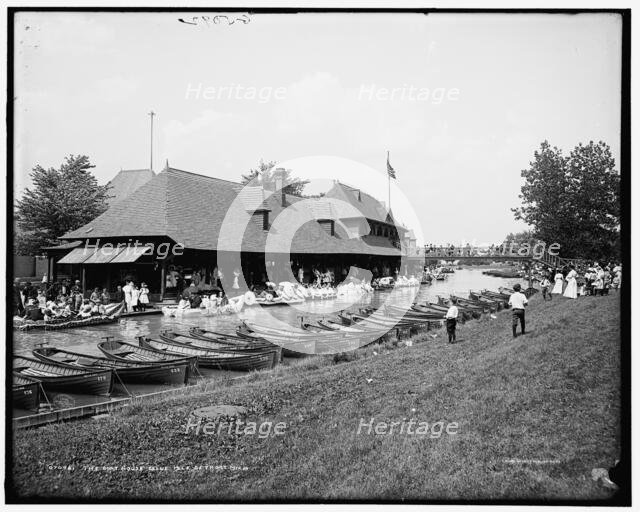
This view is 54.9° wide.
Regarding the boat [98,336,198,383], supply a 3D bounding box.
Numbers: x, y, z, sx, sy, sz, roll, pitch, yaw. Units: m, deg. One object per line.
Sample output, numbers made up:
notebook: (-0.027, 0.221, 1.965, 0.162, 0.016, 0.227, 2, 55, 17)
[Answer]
boat: (-5.493, 3.139, 18.392, 3.671, 1.176, 1.370, 3, 1, 36)
